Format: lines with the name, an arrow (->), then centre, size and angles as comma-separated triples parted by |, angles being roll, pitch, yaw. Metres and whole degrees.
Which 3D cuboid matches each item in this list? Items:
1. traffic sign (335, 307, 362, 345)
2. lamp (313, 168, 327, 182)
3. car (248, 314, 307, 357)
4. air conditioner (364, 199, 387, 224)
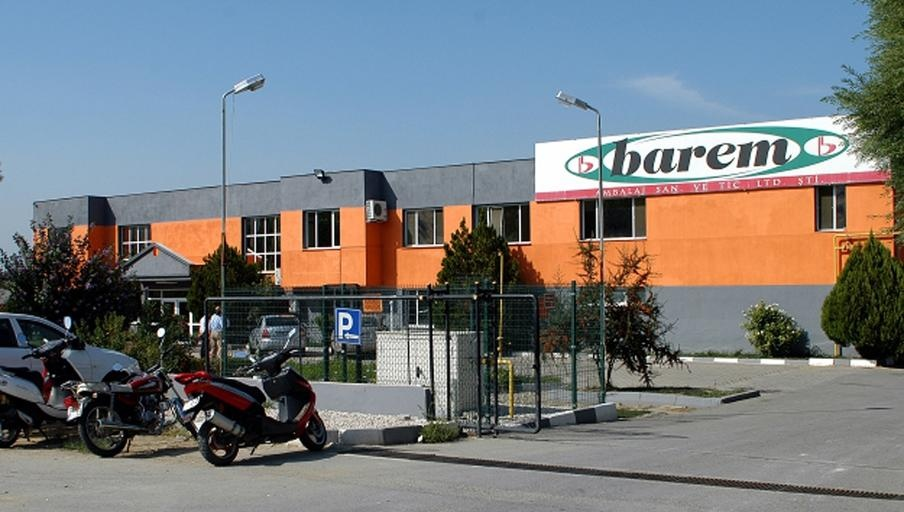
traffic sign -> -3.025, 2.027, 32.302 | 0.969, 1.344, 0.149 | -1, -5, 15
lamp -> -6.450, -3.984, 54.595 | 0.640, 0.602, 1.447 | -1, 6, -9
car -> -5.062, 2.304, 32.338 | 1.019, 0.862, 1.755 | -1, 2, -17
air conditioner -> -3.757, -2.203, 53.642 | 0.439, 1.163, 1.094 | -2, -3, 40
